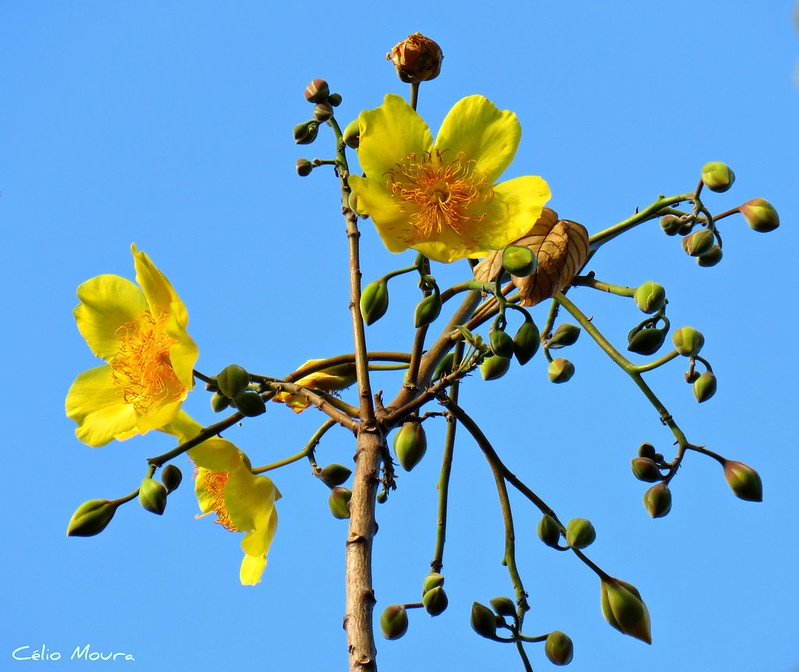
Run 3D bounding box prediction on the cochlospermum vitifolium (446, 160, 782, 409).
[{"bbox_3d":[0.264,-0.098,2.668,0.402,0.292,0.169,-27,-27,-11],"label":"cochlospermum vitifolium"}]
